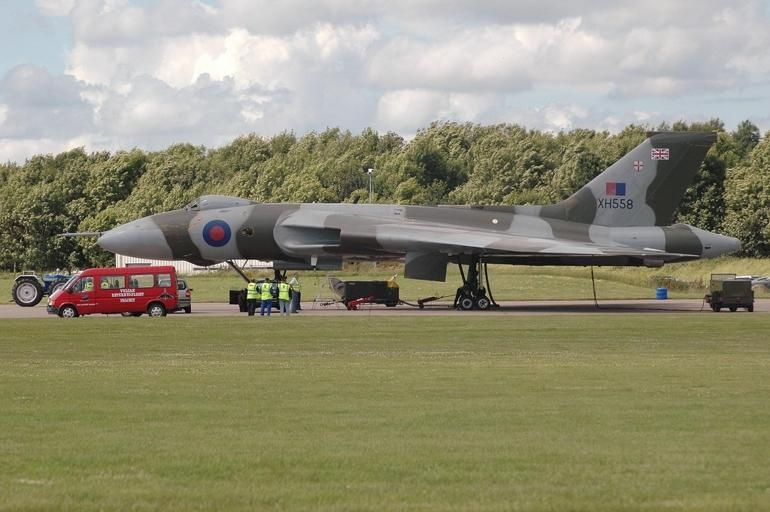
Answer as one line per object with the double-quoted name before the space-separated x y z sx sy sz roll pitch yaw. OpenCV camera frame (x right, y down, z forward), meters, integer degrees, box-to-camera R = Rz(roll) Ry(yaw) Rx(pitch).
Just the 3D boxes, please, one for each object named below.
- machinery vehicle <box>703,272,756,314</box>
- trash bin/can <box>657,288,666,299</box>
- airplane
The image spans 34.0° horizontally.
"machinery vehicle" 13.921 1.601 50.740 1.761 1.284 1.039 1 8 11
"trash bin/can" 12.982 1.783 59.425 0.489 0.413 0.488 -1 0 -39
"airplane" 1.572 -1.608 53.966 26.750 7.098 6.194 0 8 7
